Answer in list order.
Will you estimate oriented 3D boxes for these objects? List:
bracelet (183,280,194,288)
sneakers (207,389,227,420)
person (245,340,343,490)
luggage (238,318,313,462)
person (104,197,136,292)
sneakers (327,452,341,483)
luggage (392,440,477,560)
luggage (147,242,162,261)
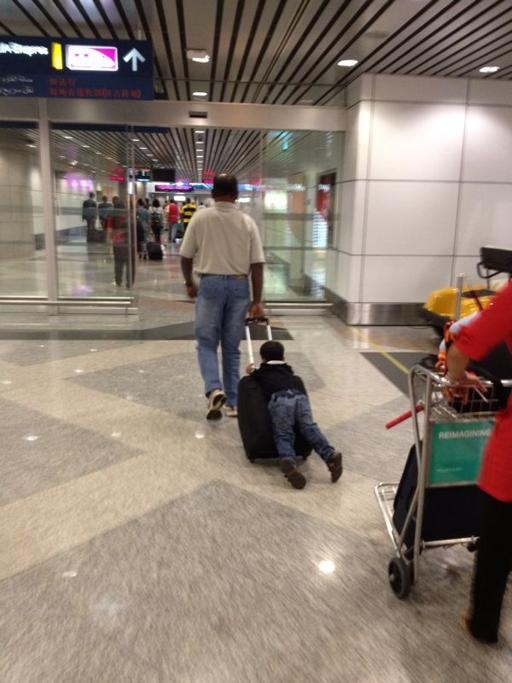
[{"bbox_3d":[-0.535,-0.460,3.729,0.063,0.040,0.059,1,-28,-7],"label":"bracelet"},{"bbox_3d":[-0.296,0.469,3.541,0.115,0.288,0.122,-3,47,-18],"label":"sneakers"},{"bbox_3d":[0.232,0.401,2.830,0.477,0.760,0.634,-1,8,-14],"label":"person"},{"bbox_3d":[0.061,0.258,3.052,0.416,1.010,0.265,-2,-15,-16],"label":"luggage"},{"bbox_3d":[-2.148,-1.579,7.547,0.364,1.456,0.274,-3,9,-28],"label":"person"},{"bbox_3d":[0.442,0.685,2.647,0.064,0.178,0.077,-6,12,-16],"label":"sneakers"},{"bbox_3d":[0.622,0.560,1.774,0.252,0.387,0.386,-1,22,-1],"label":"luggage"},{"bbox_3d":[-3.341,-2.932,15.526,0.500,0.722,0.404,6,50,-11],"label":"luggage"}]
